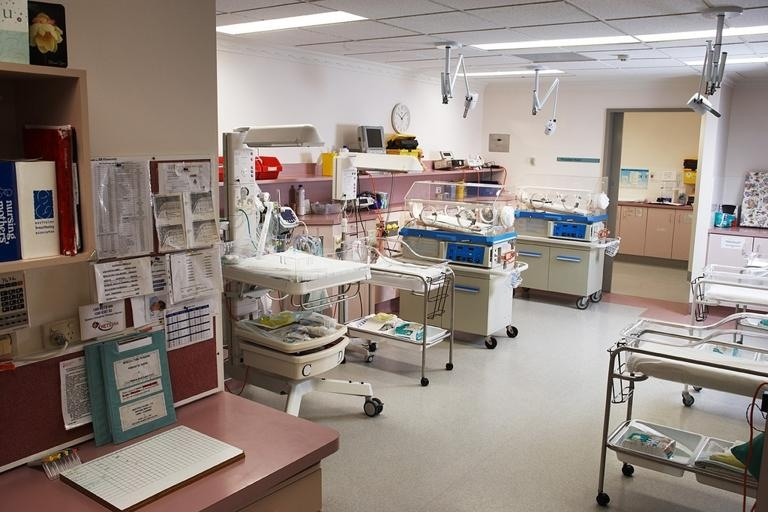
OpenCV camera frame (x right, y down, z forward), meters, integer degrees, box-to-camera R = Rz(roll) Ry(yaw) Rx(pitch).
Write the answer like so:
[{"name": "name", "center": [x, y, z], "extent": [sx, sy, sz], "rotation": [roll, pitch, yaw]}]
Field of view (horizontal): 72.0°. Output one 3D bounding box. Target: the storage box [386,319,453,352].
[{"name": "storage box", "center": [0.276, 0.713, 4.875], "extent": [0.431, 0.083, 0.303], "rotation": [5, 10, 37]}]

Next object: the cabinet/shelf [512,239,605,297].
[{"name": "cabinet/shelf", "center": [2.218, 0.152, 6.869], "extent": [1.259, 0.803, 0.757], "rotation": [4, 6, 31]}]

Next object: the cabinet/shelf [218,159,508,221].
[{"name": "cabinet/shelf", "center": [0.057, -0.932, 6.930], "extent": [0.844, 0.552, 5.218], "rotation": [11, 15, 37]}]

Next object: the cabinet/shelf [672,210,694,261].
[{"name": "cabinet/shelf", "center": [5.172, -0.363, 9.215], "extent": [0.269, 0.919, 0.225], "rotation": [13, 17, 42]}]

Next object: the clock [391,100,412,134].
[{"name": "clock", "center": [0.224, -1.933, 7.341], "extent": [0.065, 0.450, 0.467], "rotation": [1, 17, 34]}]

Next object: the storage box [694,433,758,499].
[{"name": "storage box", "center": [1.978, 1.178, 3.061], "extent": [0.365, 0.140, 0.433], "rotation": [6, 13, 43]}]

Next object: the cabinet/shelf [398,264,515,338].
[{"name": "cabinet/shelf", "center": [0.859, 0.479, 5.779], "extent": [1.228, 0.774, 0.787], "rotation": [5, 6, 37]}]

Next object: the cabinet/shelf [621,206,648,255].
[{"name": "cabinet/shelf", "center": [4.478, -0.478, 9.555], "extent": [0.452, 0.864, 0.158], "rotation": [8, 14, 27]}]
